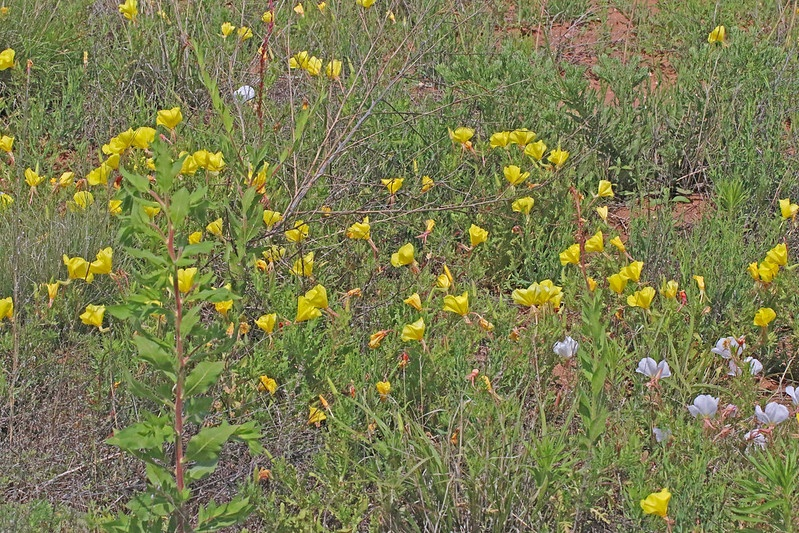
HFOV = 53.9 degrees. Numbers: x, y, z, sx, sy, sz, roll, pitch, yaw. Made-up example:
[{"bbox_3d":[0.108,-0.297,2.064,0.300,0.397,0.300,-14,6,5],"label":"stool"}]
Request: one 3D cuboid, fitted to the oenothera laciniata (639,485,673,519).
[{"bbox_3d":[1.026,0.941,3.156,0.105,0.112,0.077,14,40,16],"label":"oenothera laciniata"}]
